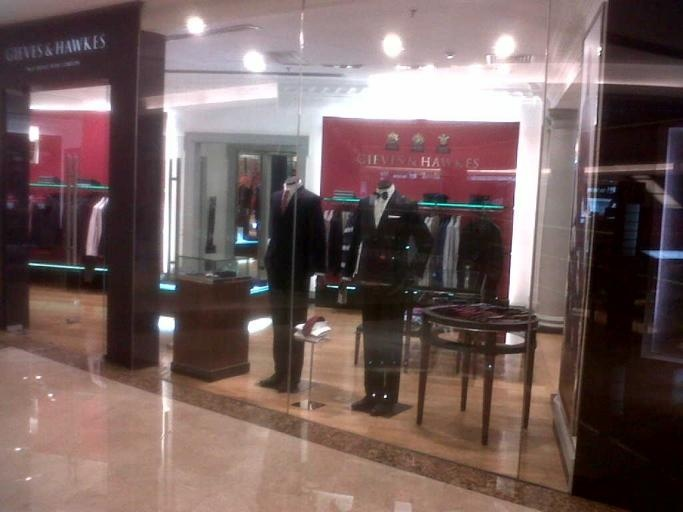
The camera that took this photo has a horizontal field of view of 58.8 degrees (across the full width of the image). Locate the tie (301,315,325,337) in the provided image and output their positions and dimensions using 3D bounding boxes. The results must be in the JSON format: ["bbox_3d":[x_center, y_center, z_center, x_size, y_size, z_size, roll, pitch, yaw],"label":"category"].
[{"bbox_3d":[-0.230,0.513,4.524,0.103,0.165,0.200,-9,-10,30],"label":"tie"}]

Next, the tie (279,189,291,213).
[{"bbox_3d":[-0.431,-0.420,4.587,0.062,0.161,0.117,2,3,-17],"label":"tie"}]

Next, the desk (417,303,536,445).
[{"bbox_3d":[0.768,0.826,4.353,0.671,0.712,0.701,4,-6,40],"label":"desk"}]

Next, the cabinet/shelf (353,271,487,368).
[{"bbox_3d":[0.438,0.397,4.332,0.764,0.503,0.489,7,1,-13],"label":"cabinet/shelf"}]

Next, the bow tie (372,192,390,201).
[{"bbox_3d":[0.283,-0.431,4.291,0.107,0.040,0.046,4,12,23],"label":"bow tie"}]

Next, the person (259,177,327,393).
[{"bbox_3d":[-0.409,0.239,4.653,0.599,1.689,0.196,5,4,42],"label":"person"}]
